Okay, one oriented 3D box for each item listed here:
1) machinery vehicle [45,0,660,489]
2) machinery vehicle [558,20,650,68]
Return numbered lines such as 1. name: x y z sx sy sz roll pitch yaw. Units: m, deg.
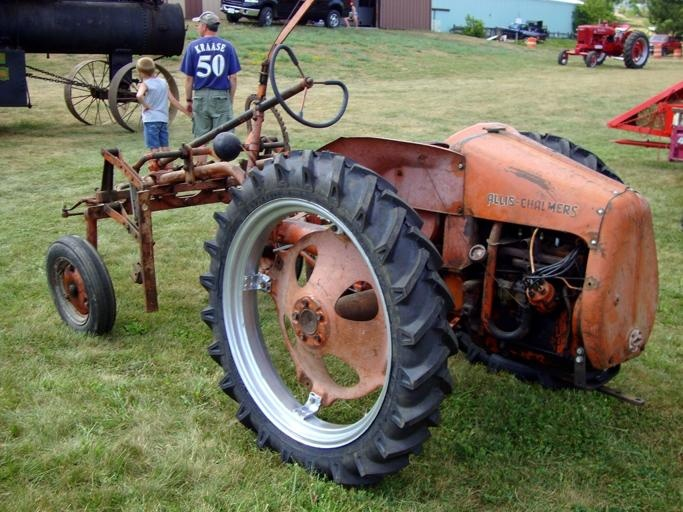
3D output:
1. machinery vehicle: -0.095 -0.306 5.122 4.699 3.134 2.604 21 28 34
2. machinery vehicle: 10.020 -7.793 23.732 2.999 1.751 2.220 1 20 -10
